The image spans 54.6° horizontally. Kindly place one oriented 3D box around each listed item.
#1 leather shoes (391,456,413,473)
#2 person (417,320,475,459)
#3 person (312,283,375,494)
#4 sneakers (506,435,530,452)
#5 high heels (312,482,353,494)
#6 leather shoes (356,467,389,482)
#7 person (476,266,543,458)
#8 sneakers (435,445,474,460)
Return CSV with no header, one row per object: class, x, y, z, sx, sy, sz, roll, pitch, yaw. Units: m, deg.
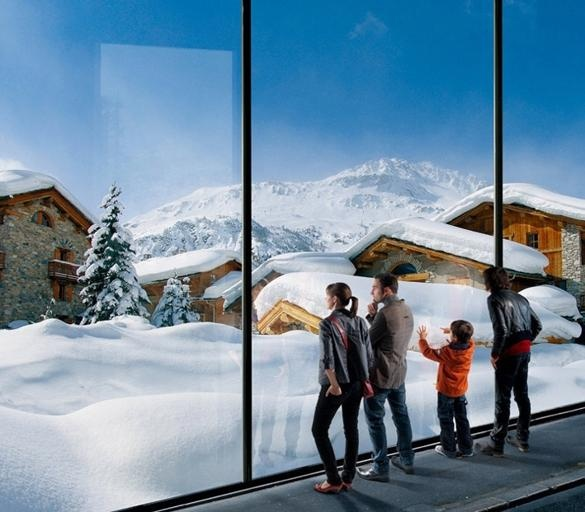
leather shoes,0.965,1.826,4.994,0.074,0.081,0.203,3,1,-21
person,1.410,1.193,5.097,0.459,1.247,0.681,-3,-9,17
person,0.395,1.056,4.553,0.416,1.688,0.476,-4,-9,24
sneakers,2.143,1.751,5.382,0.078,0.093,0.215,-13,12,-12
high heels,0.326,1.880,4.637,0.214,0.087,0.120,7,-13,5
leather shoes,0.694,1.855,4.869,0.247,0.100,0.100,2,-11,25
person,1.980,0.958,5.205,0.437,1.694,0.428,0,-8,-5
sneakers,1.498,1.806,5.275,0.349,0.148,0.121,-6,-12,19
